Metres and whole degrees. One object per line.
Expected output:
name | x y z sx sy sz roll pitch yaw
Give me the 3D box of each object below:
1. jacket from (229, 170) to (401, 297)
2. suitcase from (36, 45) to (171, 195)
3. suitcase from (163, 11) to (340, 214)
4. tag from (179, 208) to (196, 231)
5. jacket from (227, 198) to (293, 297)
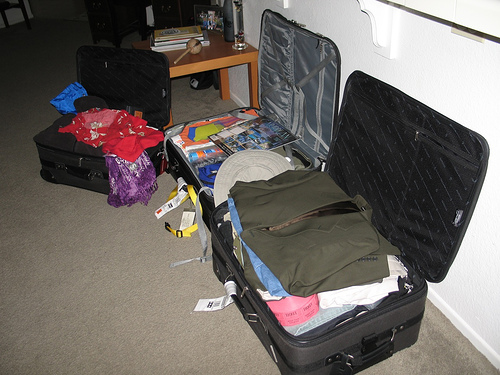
jacket | 0.255 0.179 1.606 0.470 0.157 0.505 -17 53 -14
suitcase | -0.896 -0.442 2.601 0.766 0.713 0.733 10 41 13
suitcase | -0.022 -0.487 2.149 0.661 0.825 0.844 -7 33 -23
tag | -0.363 0.190 2.333 0.087 0.019 0.177 11 60 4
jacket | 0.027 0.214 1.580 0.222 0.076 0.316 -12 47 -17
